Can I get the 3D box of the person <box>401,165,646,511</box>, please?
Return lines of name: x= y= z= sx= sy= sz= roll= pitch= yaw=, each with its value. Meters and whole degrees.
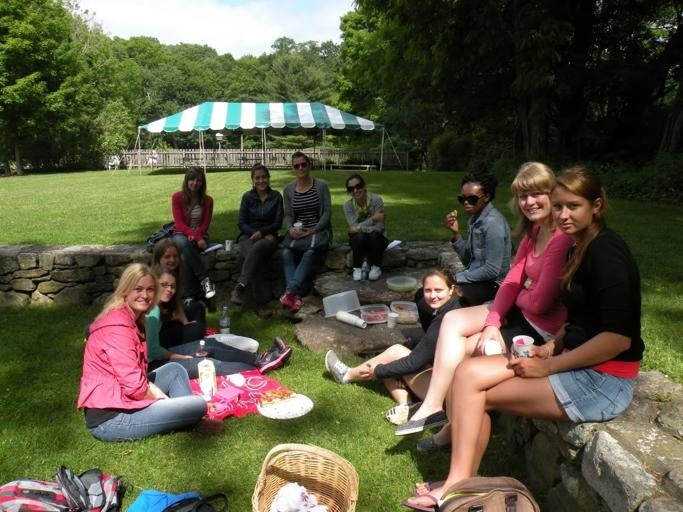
person: x=1.329 y=0.438 z=3.184 sx=1.109 sy=1.964 sz=0.461 roll=0 pitch=13 yaw=-2

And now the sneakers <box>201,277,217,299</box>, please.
sneakers: x=-1.811 y=0.432 z=6.623 sx=0.135 sy=0.164 sz=0.385 roll=-35 pitch=13 yaw=-1

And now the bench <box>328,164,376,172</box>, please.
bench: x=0.714 y=-4.682 z=26.184 sx=2.199 sy=0.291 sz=3.214 roll=-6 pitch=14 yaw=-29

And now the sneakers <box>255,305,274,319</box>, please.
sneakers: x=-1.090 y=0.760 z=6.770 sx=0.308 sy=0.207 sz=0.106 roll=-7 pitch=-2 yaw=31

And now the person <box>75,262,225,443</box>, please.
person: x=-1.669 y=0.784 z=4.053 sx=0.922 sy=1.350 sz=0.504 roll=-2 pitch=14 yaw=-15

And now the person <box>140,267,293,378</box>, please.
person: x=-1.343 y=0.705 z=5.110 sx=1.711 sy=1.012 sz=0.696 roll=3 pitch=18 yaw=22

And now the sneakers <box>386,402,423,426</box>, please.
sneakers: x=0.589 y=1.328 z=4.247 sx=0.385 sy=0.136 sz=0.146 roll=-15 pitch=16 yaw=-2

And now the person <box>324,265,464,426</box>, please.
person: x=0.524 y=0.721 z=4.970 sx=1.562 sy=1.545 sz=0.824 roll=5 pitch=4 yaw=9

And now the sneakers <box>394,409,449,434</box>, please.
sneakers: x=0.577 y=1.216 z=3.719 sx=0.434 sy=0.132 sz=0.155 roll=-15 pitch=-20 yaw=3

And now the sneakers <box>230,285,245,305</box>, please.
sneakers: x=-1.406 y=0.541 z=6.667 sx=0.161 sy=0.193 sz=0.462 roll=2 pitch=-4 yaw=-2

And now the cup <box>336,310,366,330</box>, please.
cup: x=0.123 y=0.726 z=5.687 sx=0.367 sy=0.134 sz=0.142 roll=15 pitch=9 yaw=38

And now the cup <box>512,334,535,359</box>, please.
cup: x=1.225 y=0.614 z=3.343 sx=0.144 sy=0.136 sz=0.140 roll=0 pitch=4 yaw=0

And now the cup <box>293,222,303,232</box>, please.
cup: x=-0.578 y=-0.386 z=6.664 sx=0.109 sy=0.107 sz=0.128 roll=1 pitch=0 yaw=10

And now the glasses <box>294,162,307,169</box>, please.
glasses: x=-0.553 y=-1.225 z=6.700 sx=0.183 sy=0.092 sz=0.094 roll=-1 pitch=13 yaw=-8

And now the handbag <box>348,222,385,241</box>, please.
handbag: x=0.328 y=-0.351 z=6.628 sx=0.307 sy=0.130 sz=0.298 roll=-2 pitch=3 yaw=30

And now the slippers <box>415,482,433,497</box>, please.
slippers: x=0.556 y=1.584 z=3.359 sx=0.058 sy=0.036 sz=0.105 roll=-36 pitch=-8 yaw=-25
